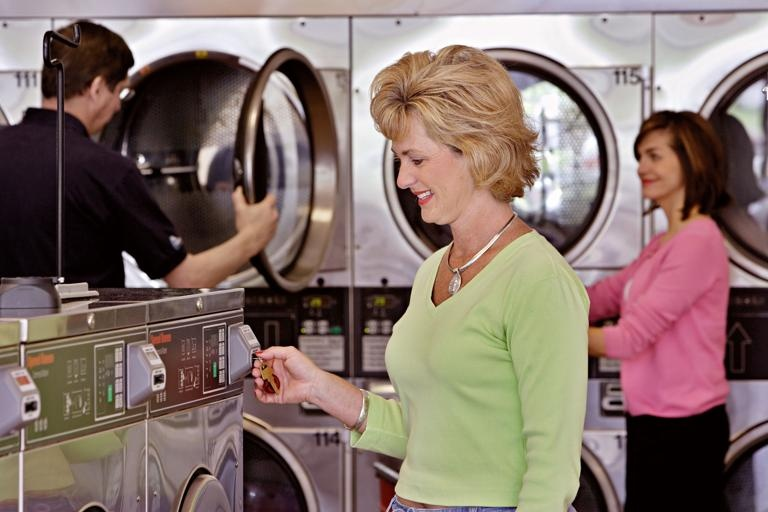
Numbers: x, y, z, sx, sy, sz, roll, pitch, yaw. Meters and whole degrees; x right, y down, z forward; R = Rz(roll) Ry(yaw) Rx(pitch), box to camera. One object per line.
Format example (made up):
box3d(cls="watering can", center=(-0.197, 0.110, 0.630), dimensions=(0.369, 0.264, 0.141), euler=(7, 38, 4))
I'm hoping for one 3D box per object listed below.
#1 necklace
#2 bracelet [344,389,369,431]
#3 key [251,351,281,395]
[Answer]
box3d(cls="necklace", center=(0.208, 0.003, 1.671), dimensions=(0.048, 0.192, 0.147), euler=(34, 15, -12))
box3d(cls="bracelet", center=(-0.059, 0.389, 1.823), dimensions=(0.032, 0.085, 0.071), euler=(13, -18, -23))
box3d(cls="key", center=(-0.301, 0.310, 1.860), dimensions=(0.044, 0.151, 0.017), euler=(-30, 38, -17))
